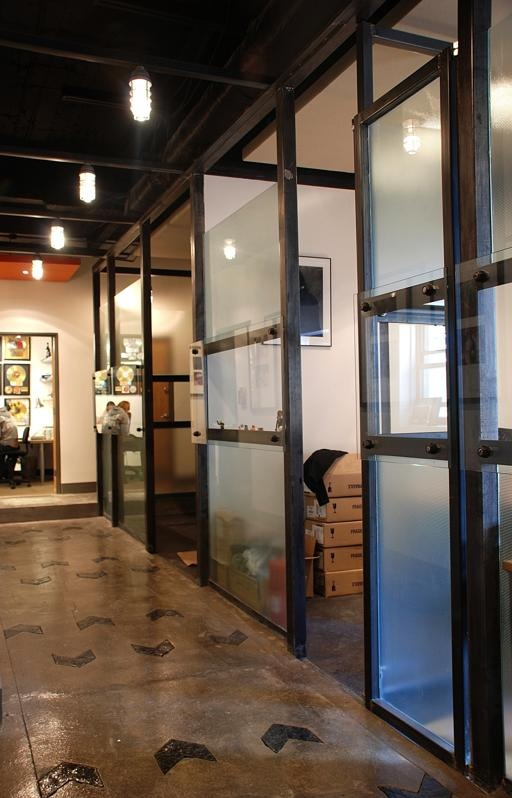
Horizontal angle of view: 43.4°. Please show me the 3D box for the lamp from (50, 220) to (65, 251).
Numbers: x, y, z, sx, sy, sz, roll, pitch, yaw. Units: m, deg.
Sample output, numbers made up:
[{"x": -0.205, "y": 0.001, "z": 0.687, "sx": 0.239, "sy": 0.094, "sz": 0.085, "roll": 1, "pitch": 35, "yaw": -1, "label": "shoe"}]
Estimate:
[{"x": -1.731, "y": -1.430, "z": 5.655, "sx": 0.103, "sy": 0.184, "sz": 0.239, "roll": 0, "pitch": -3, "yaw": -21, "label": "lamp"}]

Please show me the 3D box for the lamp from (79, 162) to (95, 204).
[{"x": -1.165, "y": -1.498, "z": 4.484, "sx": 0.087, "sy": 0.231, "sz": 0.166, "roll": -1, "pitch": -3, "yaw": -6, "label": "lamp"}]

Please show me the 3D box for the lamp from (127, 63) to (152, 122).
[{"x": -0.544, "y": -1.450, "z": 3.062, "sx": 0.095, "sy": 0.255, "sz": 0.193, "roll": 0, "pitch": -3, "yaw": -13, "label": "lamp"}]

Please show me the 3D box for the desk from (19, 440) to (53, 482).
[{"x": -3.701, "y": 1.073, "z": 10.947, "sx": 0.618, "sy": 0.411, "sz": 0.642, "roll": -1, "pitch": 4, "yaw": -5, "label": "desk"}]

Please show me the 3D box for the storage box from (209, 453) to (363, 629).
[{"x": 0.310, "y": 0.785, "z": 3.960, "sx": 0.964, "sy": 1.068, "sz": 0.983, "roll": 3, "pitch": -9, "yaw": -29, "label": "storage box"}]
